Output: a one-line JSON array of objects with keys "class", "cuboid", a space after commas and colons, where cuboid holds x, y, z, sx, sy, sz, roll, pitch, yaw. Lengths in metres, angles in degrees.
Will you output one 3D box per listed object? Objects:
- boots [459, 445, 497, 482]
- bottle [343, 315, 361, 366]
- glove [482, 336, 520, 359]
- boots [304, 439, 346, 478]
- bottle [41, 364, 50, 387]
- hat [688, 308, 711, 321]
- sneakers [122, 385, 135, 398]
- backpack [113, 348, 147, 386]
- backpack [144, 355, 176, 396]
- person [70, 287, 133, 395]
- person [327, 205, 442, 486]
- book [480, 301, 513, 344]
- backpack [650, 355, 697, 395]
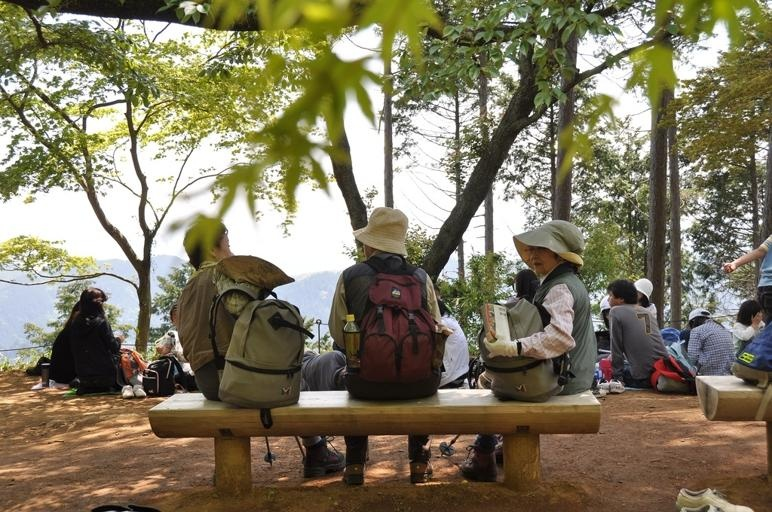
[{"class": "boots", "cuboid": [0.959, 2.160, 7.452, 0.206, 0.366, 0.511, 1, 1, -33]}, {"class": "bottle", "cuboid": [-0.335, 0.840, 6.900, 0.192, 0.515, 0.193, -4, -5, 0]}, {"class": "glove", "cuboid": [1.051, 0.834, 6.562, 0.160, 0.249, 0.261, 7, -12, -34]}, {"class": "boots", "cuboid": [-0.711, 2.180, 7.769, 0.588, 0.427, 0.221, 2, -1, -41]}, {"class": "bottle", "cuboid": [-5.981, 2.143, 12.641, 0.104, 0.344, 0.149, -3, 4, -8]}, {"class": "hat", "cuboid": [4.981, 0.937, 11.462, 0.475, 0.252, 0.350, 0, -4, 22]}, {"class": "sneakers", "cuboid": [-4.108, 2.185, 11.462, 0.192, 0.166, 0.359, -3, 3, -21]}, {"class": "backpack", "cuboid": [-4.191, 1.860, 11.821, 0.673, 0.634, 0.449, 3, 1, -28]}, {"class": "backpack", "cuboid": [-3.575, 1.918, 11.427, 0.403, 0.568, 0.559, -2, -2, 28]}, {"class": "person", "cuboid": [-4.655, 1.398, 11.559, 0.761, 1.743, 0.619, -4, 5, -21]}, {"class": "person", "cuboid": [0.105, 0.904, 7.220, 1.197, 2.686, 1.281, 4, -9, -26]}, {"class": "book", "cuboid": [1.012, 0.623, 6.618, 0.260, 0.344, 0.086, 11, -22, -38]}, {"class": "backpack", "cuboid": [4.186, 1.629, 10.530, 0.702, 0.282, 0.561, 6, 13, 17]}]
